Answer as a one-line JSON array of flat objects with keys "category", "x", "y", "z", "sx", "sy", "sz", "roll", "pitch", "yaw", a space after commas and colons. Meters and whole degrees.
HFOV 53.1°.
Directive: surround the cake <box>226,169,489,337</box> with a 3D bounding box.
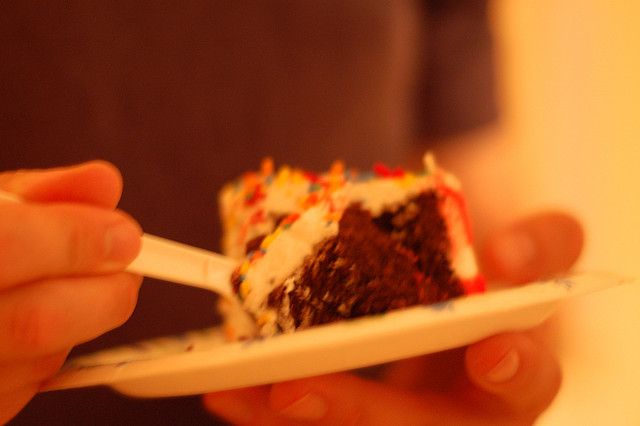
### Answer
[{"category": "cake", "x": 0.028, "y": 0.032, "z": 0.697, "sx": 0.299, "sy": 0.122, "sz": 0.173, "roll": -5, "pitch": 27, "yaw": 12}]
